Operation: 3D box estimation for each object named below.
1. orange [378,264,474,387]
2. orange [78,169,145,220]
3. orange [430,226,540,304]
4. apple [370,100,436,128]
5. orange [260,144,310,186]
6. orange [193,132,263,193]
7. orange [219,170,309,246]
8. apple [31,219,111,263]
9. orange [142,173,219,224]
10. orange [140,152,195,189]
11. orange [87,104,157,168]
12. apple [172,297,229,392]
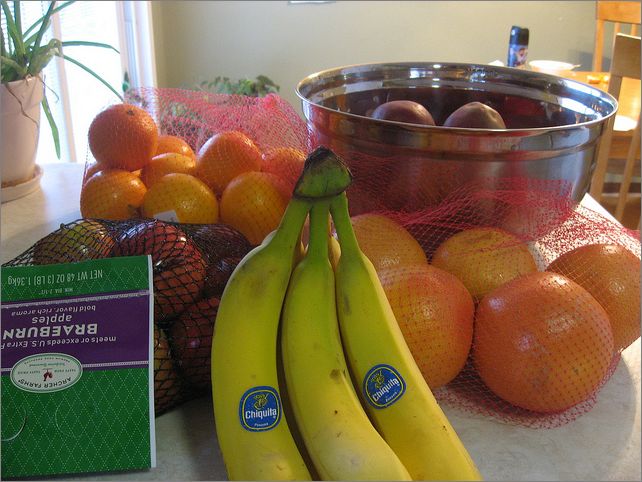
[{"bbox_3d":[0.151,0.094,0.800,0.120,0.170,0.131,-14,0,21],"label":"orange"},{"bbox_3d":[-0.324,-0.070,0.909,0.079,0.110,0.080,9,16,10],"label":"orange"},{"bbox_3d":[0.224,0.007,0.785,0.099,0.090,0.103,5,11,14],"label":"orange"},{"bbox_3d":[0.123,-0.186,0.859,0.067,0.045,0.058,6,17,-23],"label":"apple"},{"bbox_3d":[-0.060,-0.124,0.962,0.056,0.047,0.076,6,-4,-4],"label":"orange"},{"bbox_3d":[-0.155,-0.122,1.001,0.089,0.126,0.095,3,2,0],"label":"orange"},{"bbox_3d":[-0.099,-0.054,0.956,0.095,0.137,0.105,2,-10,0],"label":"orange"},{"bbox_3d":[-0.338,0.004,0.799,0.061,0.052,0.078,-21,8,40],"label":"apple"},{"bbox_3d":[-0.220,-0.050,0.935,0.090,0.089,0.081,-32,9,-39],"label":"orange"},{"bbox_3d":[-0.247,-0.121,0.938,0.065,0.062,0.055,-3,18,-6],"label":"orange"},{"bbox_3d":[-0.317,-0.153,0.943,0.091,0.106,0.098,2,8,-34],"label":"orange"},{"bbox_3d":[-0.151,0.134,0.771,0.051,0.108,0.075,-2,13,13],"label":"apple"}]
